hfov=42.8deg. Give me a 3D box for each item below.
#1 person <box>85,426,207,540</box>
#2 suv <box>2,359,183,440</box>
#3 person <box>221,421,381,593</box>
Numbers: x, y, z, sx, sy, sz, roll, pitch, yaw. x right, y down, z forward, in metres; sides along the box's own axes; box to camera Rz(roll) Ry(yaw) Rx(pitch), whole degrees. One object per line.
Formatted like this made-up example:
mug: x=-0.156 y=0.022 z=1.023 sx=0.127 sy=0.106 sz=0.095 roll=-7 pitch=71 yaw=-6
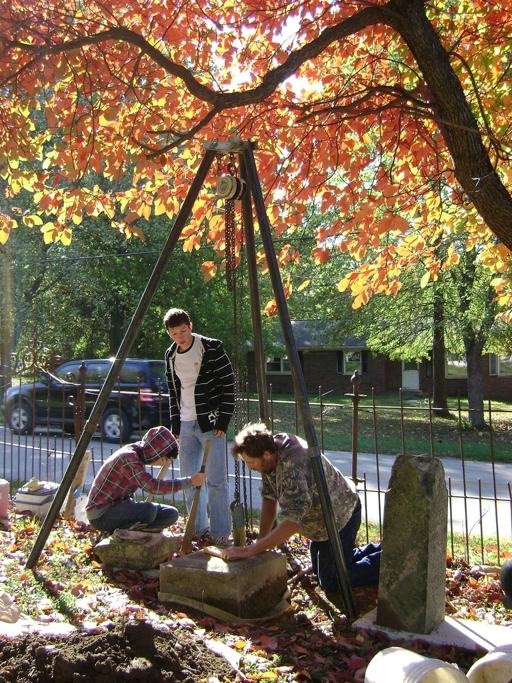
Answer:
person: x=-0.797 y=1.020 z=4.703 sx=0.789 sy=0.826 sz=0.582 roll=-11 pitch=-22 yaw=27
suv: x=-3.469 y=1.241 z=12.256 sx=4.000 sy=1.478 sz=1.880 roll=3 pitch=-1 yaw=19
person: x=0.288 y=0.967 z=3.839 sx=1.030 sy=0.984 sz=0.643 roll=-10 pitch=1 yaw=-12
